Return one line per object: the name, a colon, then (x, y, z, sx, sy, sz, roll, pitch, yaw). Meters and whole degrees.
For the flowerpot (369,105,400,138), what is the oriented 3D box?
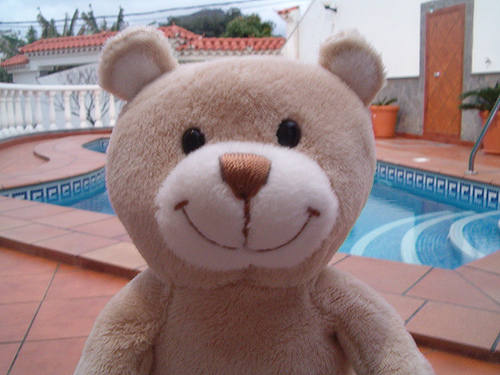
flowerpot: (3.250, -1.640, 9.669, 0.677, 0.844, 0.686, -7, 13, -24)

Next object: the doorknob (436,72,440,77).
doorknob: (4.141, -2.529, 8.798, 0.020, 0.105, 0.121, 0, 2, -15)
